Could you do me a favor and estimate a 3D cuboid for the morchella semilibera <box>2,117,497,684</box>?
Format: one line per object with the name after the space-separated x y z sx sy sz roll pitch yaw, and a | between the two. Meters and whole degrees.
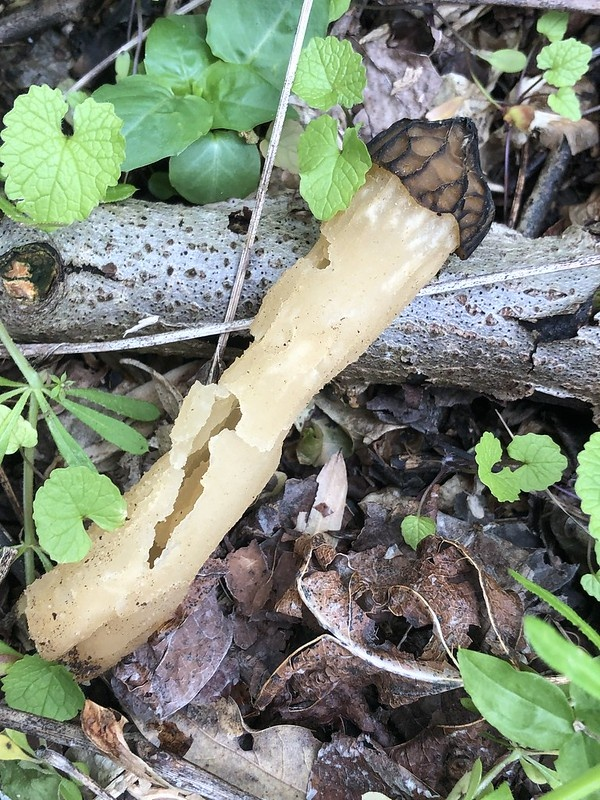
-0.125 0.007 2.045 0.343 1.077 1.533 38 59 23 | morchella semilibera
